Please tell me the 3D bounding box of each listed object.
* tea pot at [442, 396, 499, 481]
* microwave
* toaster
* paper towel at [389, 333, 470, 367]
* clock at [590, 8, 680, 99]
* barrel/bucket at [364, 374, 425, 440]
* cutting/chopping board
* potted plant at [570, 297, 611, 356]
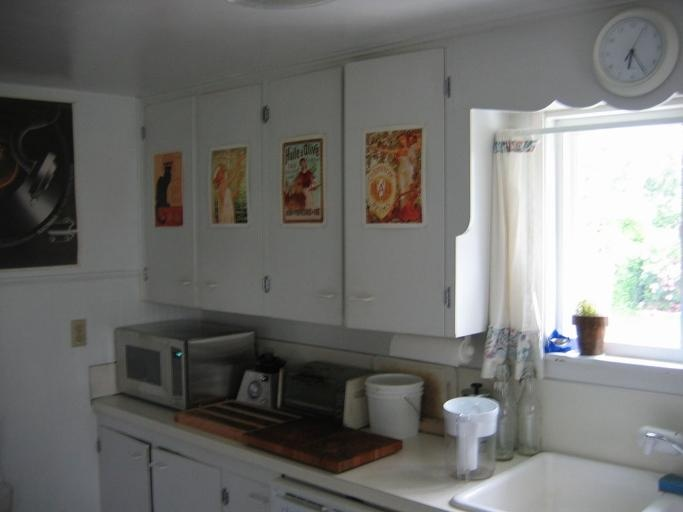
[{"bbox_3d":[0.494,0.715,2.079,0.203,0.258,0.261,-3,-2,32],"label":"tea pot"},{"bbox_3d":[-0.913,0.614,3.105,0.646,0.386,0.472,1,-1,35],"label":"microwave"},{"bbox_3d":[-0.084,0.676,2.685,0.414,0.232,0.295,5,-1,33],"label":"toaster"},{"bbox_3d":[0.406,0.413,2.441,0.379,0.149,0.124,2,3,37],"label":"paper towel"},{"bbox_3d":[0.998,-0.686,1.814,0.311,0.381,0.059,1,-5,38],"label":"clock"},{"bbox_3d":[0.238,0.647,2.405,0.241,0.197,0.252,0,0,0],"label":"barrel/bucket"},{"bbox_3d":[-0.081,0.798,2.327,0.624,0.062,0.355,2,3,36],"label":"cutting/chopping board"},{"bbox_3d":[1.037,0.302,2.244,0.134,0.210,0.135,-3,-15,42],"label":"potted plant"}]
